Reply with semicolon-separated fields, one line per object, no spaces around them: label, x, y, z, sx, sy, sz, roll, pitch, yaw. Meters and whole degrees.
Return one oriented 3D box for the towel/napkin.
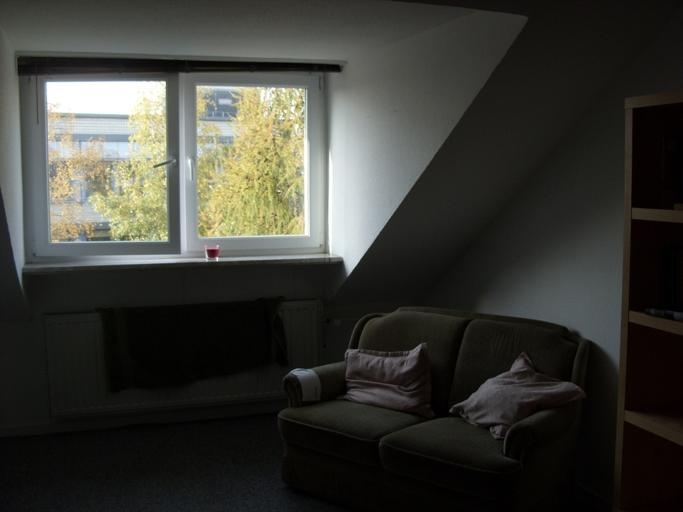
towel/napkin;-1.016;0.610;4.118;1.279;0.716;0.241;-3;29;-13

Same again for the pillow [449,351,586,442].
pillow;0.899;0.711;2.954;0.606;0.329;0.346;-2;9;-4

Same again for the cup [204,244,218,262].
cup;-0.934;-0.022;4.125;0.096;0.112;0.104;1;6;0
